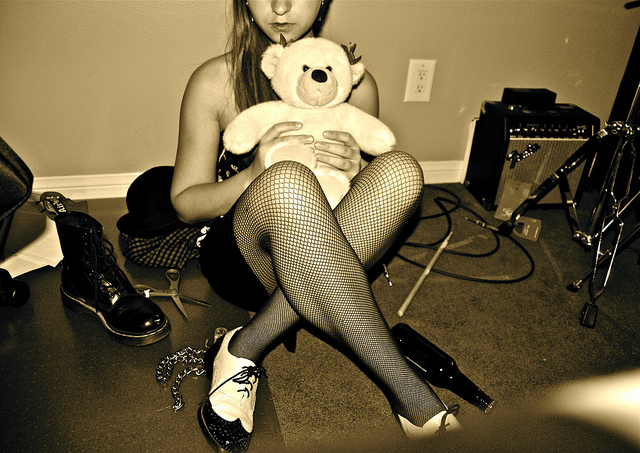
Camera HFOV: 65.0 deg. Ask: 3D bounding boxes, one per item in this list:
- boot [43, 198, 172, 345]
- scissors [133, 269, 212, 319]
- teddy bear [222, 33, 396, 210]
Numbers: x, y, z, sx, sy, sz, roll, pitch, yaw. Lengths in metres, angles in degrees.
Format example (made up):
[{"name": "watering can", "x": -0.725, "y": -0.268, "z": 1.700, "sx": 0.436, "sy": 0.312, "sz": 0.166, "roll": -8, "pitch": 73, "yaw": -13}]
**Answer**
[{"name": "boot", "x": -0.788, "y": 0.163, "z": 1.833, "sx": 0.586, "sy": 0.390, "sz": 0.224, "roll": 20, "pitch": 31, "yaw": 23}, {"name": "scissors", "x": -0.549, "y": 0.262, "z": 1.972, "sx": 0.197, "sy": 0.314, "sz": 0.046, "roll": -29, "pitch": 46, "yaw": 20}, {"name": "teddy bear", "x": -0.040, "y": -0.323, "z": 1.578, "sx": 0.522, "sy": 0.509, "sz": 0.305, "roll": 3, "pitch": 19, "yaw": -6}]
